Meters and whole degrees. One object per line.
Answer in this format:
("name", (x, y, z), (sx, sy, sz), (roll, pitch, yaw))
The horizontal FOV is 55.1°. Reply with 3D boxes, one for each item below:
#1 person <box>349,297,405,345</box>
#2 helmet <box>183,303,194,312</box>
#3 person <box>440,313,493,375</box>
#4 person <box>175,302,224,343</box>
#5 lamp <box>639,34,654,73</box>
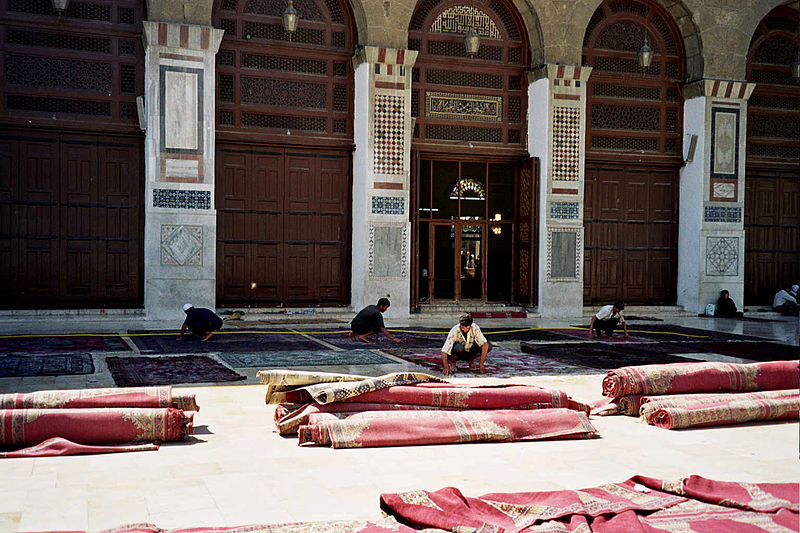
("person", (-0.558, 1.047, 14.808), (0.787, 0.927, 1.519), (5, 1, -22))
("helmet", (-4.118, 0.802, 14.854), (0.144, 0.219, 0.199), (-4, 14, -20))
("person", (0.974, 1.189, 11.566), (0.773, 1.159, 0.774), (-1, 3, -3))
("person", (-3.740, 1.081, 14.312), (0.698, 0.630, 0.555), (5, 1, 11))
("lamp", (6.149, -5.421, 19.097), (0.337, 0.958, 1.077), (0, 1, 19))
